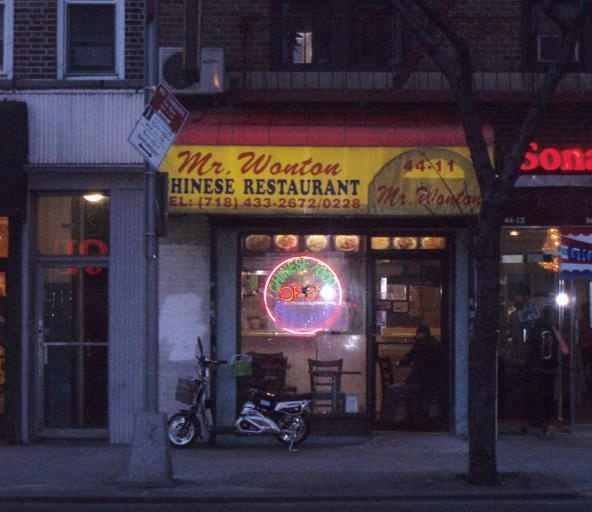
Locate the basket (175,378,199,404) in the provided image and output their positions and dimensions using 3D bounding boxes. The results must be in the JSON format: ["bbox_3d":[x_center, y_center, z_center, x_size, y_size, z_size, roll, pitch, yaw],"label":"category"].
[{"bbox_3d":[-1.624,2.010,21.843,0.325,0.420,0.247,18,0,-2],"label":"basket"}]

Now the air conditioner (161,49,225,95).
[{"bbox_3d":[-1.619,-2.863,22.459,1.198,0.832,0.650,0,-2,0],"label":"air conditioner"}]

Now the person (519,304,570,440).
[{"bbox_3d":[3.873,1.753,22.933,0.624,1.842,0.631,7,17,28],"label":"person"}]

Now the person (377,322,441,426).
[{"bbox_3d":[1.781,1.848,22.888,0.900,1.509,0.447,0,15,3],"label":"person"}]

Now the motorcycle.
[{"bbox_3d":[-0.898,2.113,21.986,2.276,1.646,0.968,0,-1,-3],"label":"motorcycle"}]

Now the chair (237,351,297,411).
[{"bbox_3d":[-0.449,1.851,22.747,1.015,0.646,0.615,-2,-9,2],"label":"chair"}]

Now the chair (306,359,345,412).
[{"bbox_3d":[0.457,2.014,22.778,0.708,1.156,0.735,0,-8,-1],"label":"chair"}]
